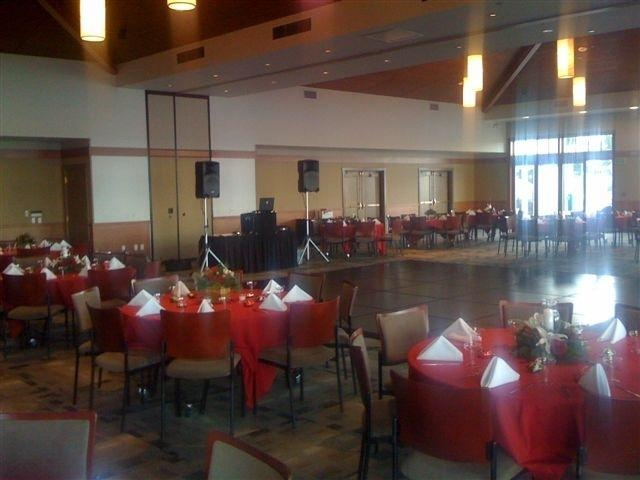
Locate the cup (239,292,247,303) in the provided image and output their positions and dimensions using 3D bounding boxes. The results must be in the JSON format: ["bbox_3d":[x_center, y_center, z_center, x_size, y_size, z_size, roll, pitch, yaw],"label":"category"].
[{"bbox_3d":[-0.795,0.593,5.314,0.063,0.070,0.067,0,2,0],"label":"cup"}]

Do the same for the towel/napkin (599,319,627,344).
[{"bbox_3d":[2.247,0.689,4.008,0.208,0.188,0.160,-1,11,-23],"label":"towel/napkin"}]

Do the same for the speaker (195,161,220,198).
[{"bbox_3d":[-2.506,-1.380,11.666,0.465,0.823,0.441,-8,16,-38],"label":"speaker"}]

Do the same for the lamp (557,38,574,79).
[{"bbox_3d":[4.100,-3.062,8.650,0.208,0.660,0.633,-1,3,30],"label":"lamp"}]

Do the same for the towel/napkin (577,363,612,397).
[{"bbox_3d":[1.626,0.815,3.055,0.158,0.178,0.057,4,-1,26],"label":"towel/napkin"}]

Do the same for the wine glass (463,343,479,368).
[{"bbox_3d":[1.074,0.823,3.667,0.118,0.158,0.119,0,-1,2],"label":"wine glass"}]

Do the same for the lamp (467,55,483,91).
[{"bbox_3d":[2.523,-2.749,8.435,0.215,0.607,0.324,-2,2,15],"label":"lamp"}]

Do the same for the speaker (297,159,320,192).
[{"bbox_3d":[-0.274,-1.653,13.477,0.465,0.829,0.527,-1,1,42],"label":"speaker"}]
